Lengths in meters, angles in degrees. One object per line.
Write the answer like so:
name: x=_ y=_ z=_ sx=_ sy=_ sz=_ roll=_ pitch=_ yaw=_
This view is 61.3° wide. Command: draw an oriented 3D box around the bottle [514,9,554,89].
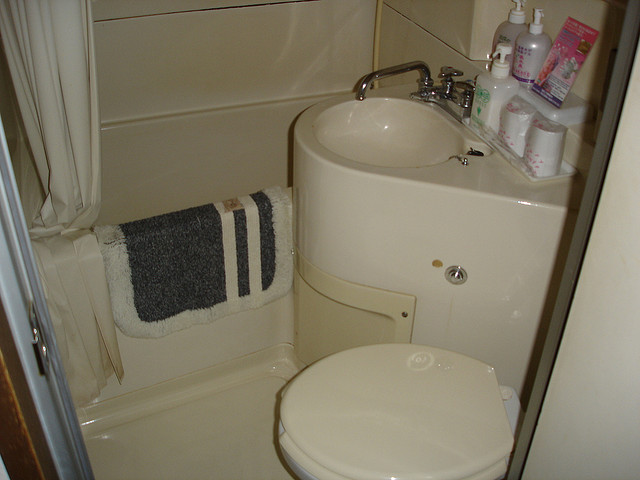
bottle: x=0.521 y=-0.465 z=1.317 sx=0.086 sy=0.181 sz=0.098 roll=5 pitch=26 yaw=9

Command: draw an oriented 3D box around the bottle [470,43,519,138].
bottle: x=0.430 y=-0.356 z=1.332 sx=0.103 sy=0.201 sz=0.069 roll=10 pitch=26 yaw=19

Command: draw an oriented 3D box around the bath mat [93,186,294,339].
bath mat: x=-0.362 y=0.087 z=1.584 sx=0.421 sy=0.337 sz=0.109 roll=-14 pitch=36 yaw=-18

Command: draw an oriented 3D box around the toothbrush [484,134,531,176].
toothbrush: x=0.455 y=-0.203 z=1.297 sx=0.015 sy=0.009 sz=0.119 roll=-19 pitch=75 yaw=-30
